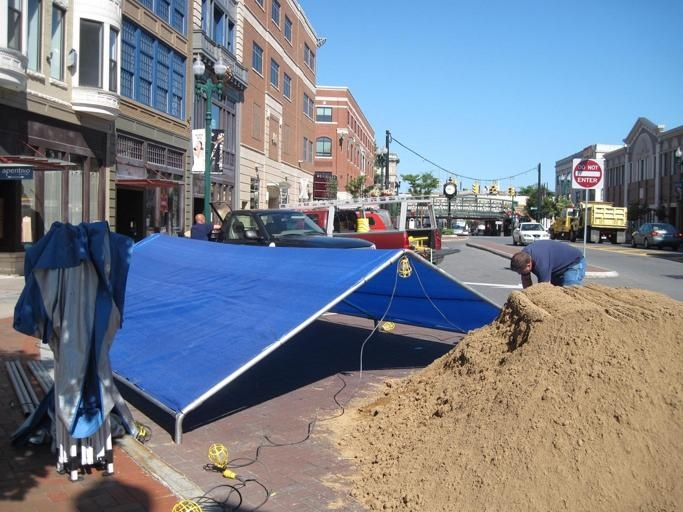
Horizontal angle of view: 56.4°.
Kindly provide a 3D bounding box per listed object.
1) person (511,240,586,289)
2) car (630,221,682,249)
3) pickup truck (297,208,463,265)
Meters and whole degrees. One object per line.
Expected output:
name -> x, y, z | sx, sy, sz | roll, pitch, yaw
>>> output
person -> 2.999, 0.133, 9.141 | 0.597, 0.690, 1.653 | 7, 10, 41
car -> 18.862, -1.264, 38.058 | 1.229, 1.130, 3.195 | 1, 5, 3
pickup truck -> 0.643, -0.500, 15.598 | 2.897, 1.343, 1.750 | 2, -1, 6
